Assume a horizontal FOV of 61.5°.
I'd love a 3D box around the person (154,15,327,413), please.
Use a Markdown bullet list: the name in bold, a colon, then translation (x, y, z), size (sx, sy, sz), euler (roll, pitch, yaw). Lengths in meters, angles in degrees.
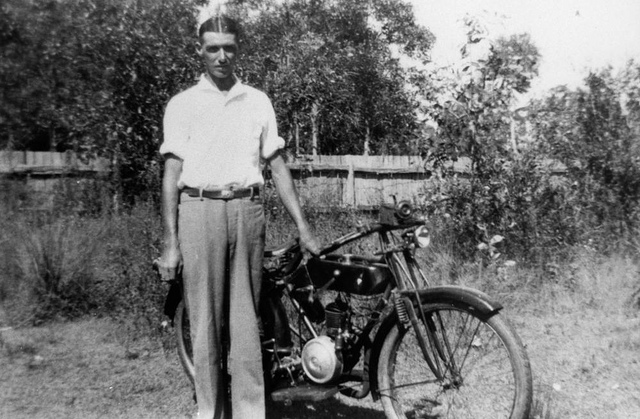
- **person**: translation (-0.873, 0.062, 5.094), size (1.301, 3.587, 0.501), euler (2, 0, -17)
